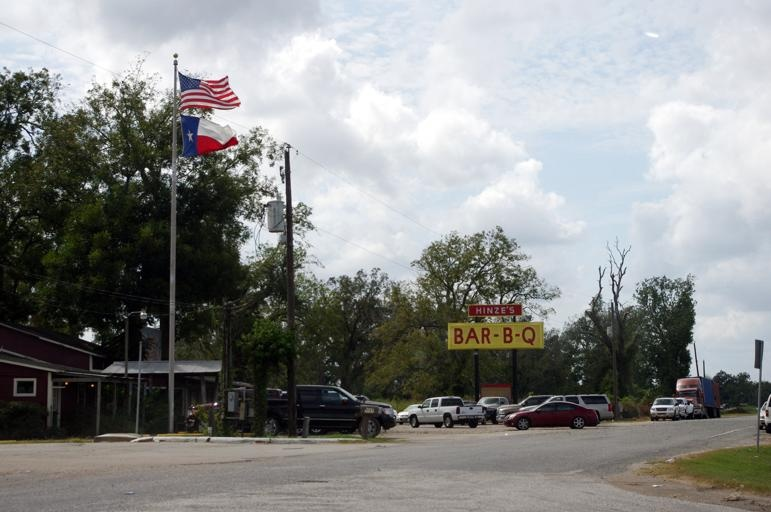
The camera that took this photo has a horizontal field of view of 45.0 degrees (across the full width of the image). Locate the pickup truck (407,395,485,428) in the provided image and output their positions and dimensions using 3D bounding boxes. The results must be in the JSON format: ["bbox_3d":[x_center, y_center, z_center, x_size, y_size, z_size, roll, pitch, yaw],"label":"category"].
[{"bbox_3d":[4.575,11.426,67.789,4.728,2.035,2.354,-3,-7,42],"label":"pickup truck"}]

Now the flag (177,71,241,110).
[{"bbox_3d":[-10.369,-9.763,55.236,3.343,2.625,0.322,-2,-26,-8],"label":"flag"}]

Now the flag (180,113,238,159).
[{"bbox_3d":[-10.534,-7.278,55.629,3.141,2.895,0.853,-1,-17,-15],"label":"flag"}]

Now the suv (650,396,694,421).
[{"bbox_3d":[24.867,13.388,81.395,2.045,2.281,5.307,-11,-19,42],"label":"suv"}]

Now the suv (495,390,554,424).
[{"bbox_3d":[10.148,11.614,68.940,3.810,1.987,2.211,-2,-7,10],"label":"suv"}]

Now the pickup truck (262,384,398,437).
[{"bbox_3d":[-3.915,8.919,54.637,8.885,3.641,3.748,-1,0,-1],"label":"pickup truck"}]
